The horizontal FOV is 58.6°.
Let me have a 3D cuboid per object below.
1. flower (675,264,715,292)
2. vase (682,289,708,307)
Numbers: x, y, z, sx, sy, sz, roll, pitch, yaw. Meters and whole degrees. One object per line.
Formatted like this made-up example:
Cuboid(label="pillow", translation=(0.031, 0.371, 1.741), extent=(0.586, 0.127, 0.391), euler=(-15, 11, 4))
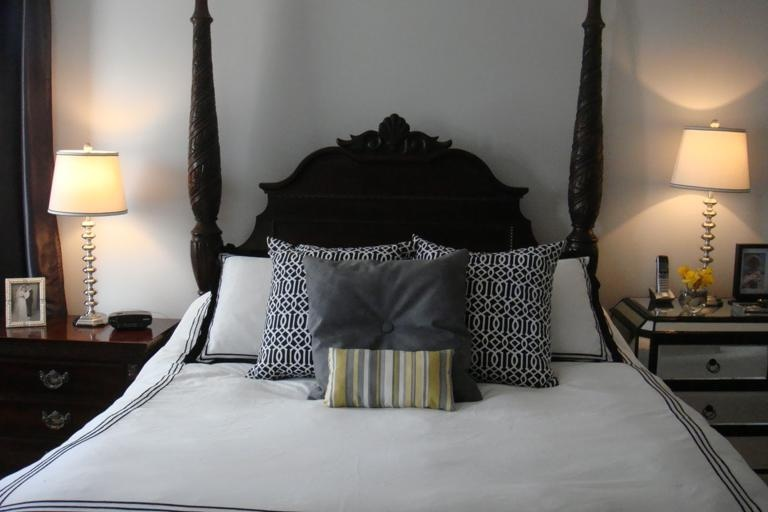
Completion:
Cuboid(label="flower", translation=(1.734, 0.132, 3.853), extent=(0.172, 0.120, 0.170), euler=(5, -9, 1))
Cuboid(label="vase", translation=(1.726, 0.237, 3.797), extent=(0.108, 0.077, 0.107), euler=(1, -8, 1))
